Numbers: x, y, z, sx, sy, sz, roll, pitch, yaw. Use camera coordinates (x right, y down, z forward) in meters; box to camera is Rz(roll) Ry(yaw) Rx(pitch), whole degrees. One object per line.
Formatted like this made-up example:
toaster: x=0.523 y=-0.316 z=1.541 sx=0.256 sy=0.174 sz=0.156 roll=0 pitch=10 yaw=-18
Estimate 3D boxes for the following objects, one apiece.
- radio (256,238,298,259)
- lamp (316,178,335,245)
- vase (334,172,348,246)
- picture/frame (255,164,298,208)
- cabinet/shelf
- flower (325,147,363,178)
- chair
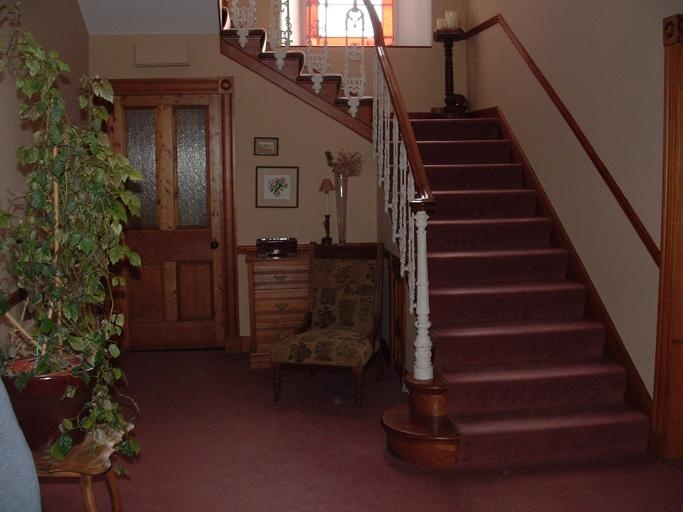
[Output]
radio: x=-0.664 y=-0.103 z=5.670 sx=0.310 sy=0.208 sz=0.162 roll=-1 pitch=11 yaw=-8
lamp: x=-0.154 y=-0.476 z=5.754 sx=0.150 sy=0.638 sz=0.448 roll=-1 pitch=10 yaw=-2
vase: x=-0.005 y=-0.507 z=5.799 sx=0.111 sy=0.706 sz=0.187 roll=-2 pitch=9 yaw=-9
picture/frame: x=-0.710 y=-0.757 z=5.862 sx=0.393 sy=0.443 sz=0.034 roll=0 pitch=1 yaw=-6
cabinet/shelf: x=-0.615 y=0.611 z=5.594 sx=0.611 sy=0.529 sz=1.005 roll=-3 pitch=43 yaw=-6
flower: x=0.014 y=-0.973 z=5.817 sx=0.355 sy=0.271 sz=0.179 roll=-2 pitch=10 yaw=-6
chair: x=-0.111 y=0.544 z=4.965 sx=0.894 sy=1.166 sz=1.069 roll=0 pitch=10 yaw=8
